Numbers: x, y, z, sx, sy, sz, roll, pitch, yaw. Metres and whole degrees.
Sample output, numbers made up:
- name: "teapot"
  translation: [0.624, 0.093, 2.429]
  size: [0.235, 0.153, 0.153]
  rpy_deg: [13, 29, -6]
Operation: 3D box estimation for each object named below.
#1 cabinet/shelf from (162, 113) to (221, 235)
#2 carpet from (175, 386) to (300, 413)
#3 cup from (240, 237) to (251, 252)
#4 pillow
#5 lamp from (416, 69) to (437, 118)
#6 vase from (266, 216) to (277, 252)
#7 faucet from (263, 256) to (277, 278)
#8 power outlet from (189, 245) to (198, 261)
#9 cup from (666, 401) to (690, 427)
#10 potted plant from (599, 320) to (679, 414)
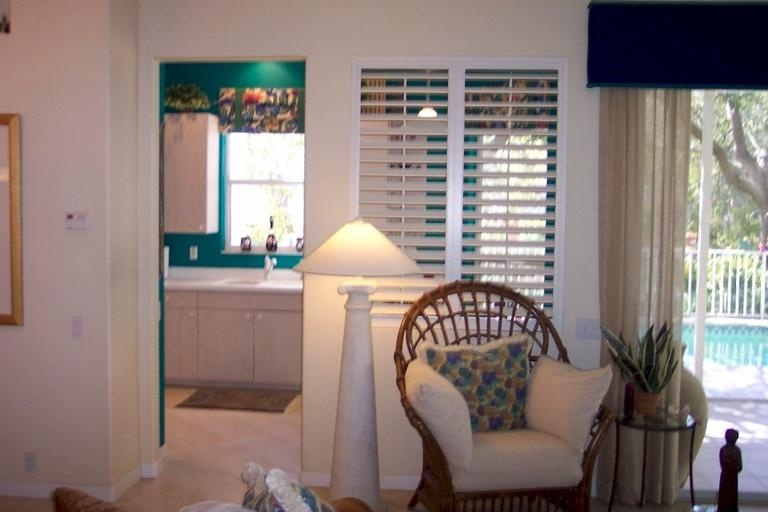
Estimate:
- name: "cabinet/shelf"
  translation: [-2.033, -0.866, 6.522]
  size: [0.679, 1.262, 0.378]
  rpy_deg: [-8, 12, -21]
- name: "carpet"
  translation: [-1.420, 1.402, 6.095]
  size: [1.091, 0.101, 0.561]
  rpy_deg: [-3, 11, 5]
- name: "cup"
  translation: [-1.536, -0.130, 6.812]
  size: [0.132, 0.157, 0.096]
  rpy_deg: [-5, 11, -6]
- name: "pillow"
  translation: [0.757, 0.869, 4.265]
  size: [1.010, 0.606, 0.804]
  rpy_deg: [-1, 0, -9]
- name: "lamp"
  translation: [0.325, -1.123, 4.625]
  size: [0.136, 0.156, 0.142]
  rpy_deg: [1, 0, -12]
- name: "vase"
  translation: [-1.244, -0.243, 6.771]
  size: [0.122, 0.378, 0.189]
  rpy_deg: [-3, 11, 2]
- name: "faucet"
  translation: [-1.232, 0.113, 6.695]
  size: [0.158, 0.230, 0.153]
  rpy_deg: [-6, 11, -12]
- name: "power outlet"
  translation: [-2.112, -0.024, 6.819]
  size: [0.098, 0.148, 0.033]
  rpy_deg: [0, 3, -3]
- name: "cup"
  translation: [2.000, 1.071, 4.184]
  size: [0.156, 0.164, 0.142]
  rpy_deg: [4, -5, -20]
- name: "potted plant"
  translation: [1.725, 0.774, 4.393]
  size: [0.560, 0.658, 0.601]
  rpy_deg: [1, -5, -7]
